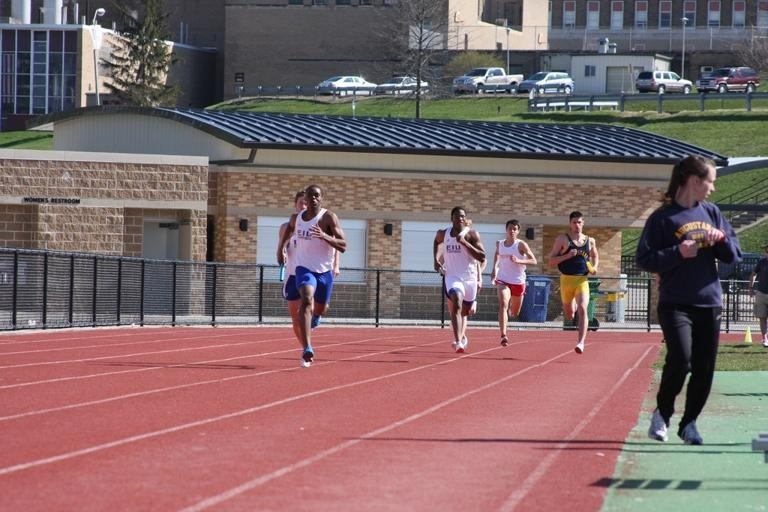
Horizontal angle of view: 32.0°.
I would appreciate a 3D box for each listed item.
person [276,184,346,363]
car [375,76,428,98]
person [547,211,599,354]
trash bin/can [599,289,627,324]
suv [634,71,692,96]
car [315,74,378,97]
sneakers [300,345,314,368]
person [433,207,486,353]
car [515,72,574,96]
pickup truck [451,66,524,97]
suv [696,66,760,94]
[{"bbox_3d":[-1.471,0.454,27.961,0.905,3.804,1.424,-1,4,-26],"label":"person"},{"bbox_3d":[1.254,-11.760,90.835,3.431,1.072,2.079,2,4,0],"label":"car"},{"bbox_3d":[4.262,0.621,30.127,0.950,3.187,0.870,1,4,10],"label":"person"},{"bbox_3d":[7.343,1.576,42.573,1.025,1.139,1.014,1,8,-2],"label":"trash bin/can"},{"bbox_3d":[17.914,-10.966,85.630,3.131,1.235,1.683,-4,7,-27],"label":"suv"},{"bbox_3d":[-2.555,-11.913,94.309,3.710,1.426,5.256,0,4,-8],"label":"car"},{"bbox_3d":[-1.553,2.128,27.649,0.215,0.564,0.261,3,39,-5],"label":"sneakers"},{"bbox_3d":[1.779,0.555,29.785,0.863,3.201,0.715,0,4,1],"label":"person"},{"bbox_3d":[10.668,-11.311,88.483,3.218,1.643,4.448,2,5,17],"label":"car"},{"bbox_3d":[7.090,-11.670,90.855,4.215,1.525,2.008,2,3,0],"label":"pickup truck"},{"bbox_3d":[21.944,-11.002,85.040,3.228,1.408,1.825,0,2,-11],"label":"suv"}]
